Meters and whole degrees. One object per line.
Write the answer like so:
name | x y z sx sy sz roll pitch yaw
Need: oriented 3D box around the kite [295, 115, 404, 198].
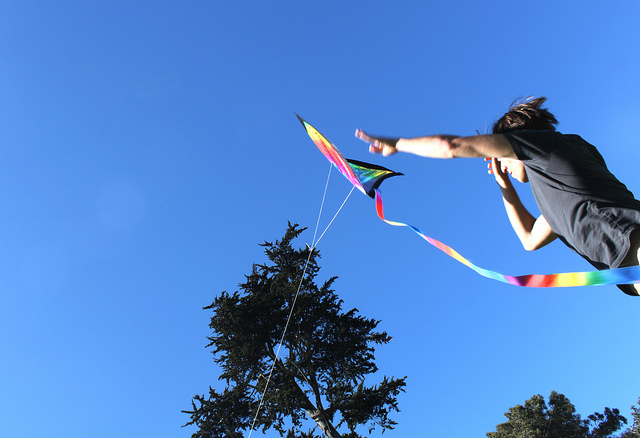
kite | 0.445 -1.081 12.323 2.520 1.003 0.772 35 -102 4
